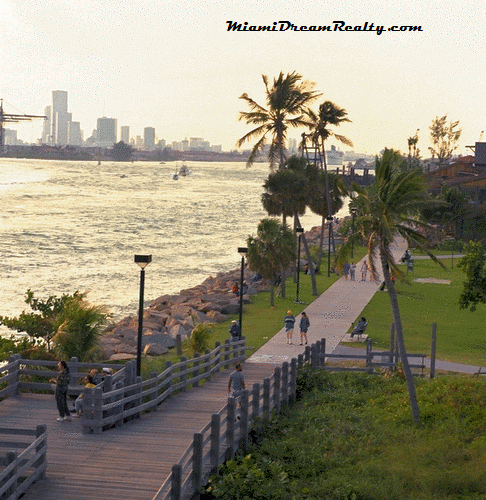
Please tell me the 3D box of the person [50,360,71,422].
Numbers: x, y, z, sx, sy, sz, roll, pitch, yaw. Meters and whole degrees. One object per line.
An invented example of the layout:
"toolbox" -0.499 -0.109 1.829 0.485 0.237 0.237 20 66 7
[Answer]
"person" -4.701 3.590 31.291 0.475 1.491 0.485 0 1 4

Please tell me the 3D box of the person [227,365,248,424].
"person" -0.191 3.741 33.016 0.418 1.461 0.315 5 20 2

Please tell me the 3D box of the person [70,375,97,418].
"person" -4.129 3.780 31.635 0.611 1.060 2.260 0 4 -9

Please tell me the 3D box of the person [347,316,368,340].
"person" 4.464 2.943 46.755 0.375 0.526 1.342 3 8 16
